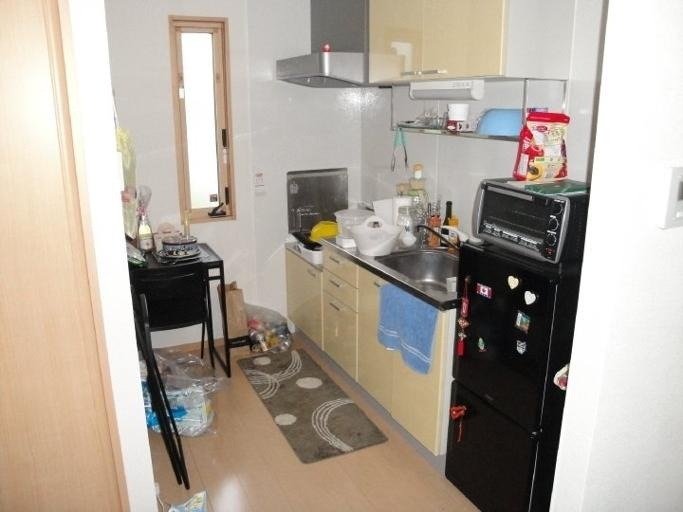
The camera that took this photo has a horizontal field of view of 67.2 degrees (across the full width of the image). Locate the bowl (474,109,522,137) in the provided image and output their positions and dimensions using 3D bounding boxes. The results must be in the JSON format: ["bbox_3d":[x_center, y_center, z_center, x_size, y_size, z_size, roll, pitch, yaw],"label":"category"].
[{"bbox_3d":[0.829,-0.693,2.684,0.232,0.128,0.124,3,19,17],"label":"bowl"}]

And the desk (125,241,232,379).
[{"bbox_3d":[-1.173,0.452,3.530,0.750,0.797,0.637,-9,10,-32],"label":"desk"}]

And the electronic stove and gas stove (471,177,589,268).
[{"bbox_3d":[0.865,-0.170,2.355,0.340,0.286,0.447,-8,22,-42],"label":"electronic stove and gas stove"}]

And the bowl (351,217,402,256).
[{"bbox_3d":[0.233,-0.137,3.427,0.277,0.181,0.266,0,17,0],"label":"bowl"}]

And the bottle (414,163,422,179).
[{"bbox_3d":[0.551,-0.603,3.653,0.063,0.107,0.167,0,19,8],"label":"bottle"}]

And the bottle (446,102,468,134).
[{"bbox_3d":[0.648,-0.760,2.841,0.141,0.174,0.151,12,19,39],"label":"bottle"}]

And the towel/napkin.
[{"bbox_3d":[0.371,0.403,2.921,0.117,0.424,0.402,-7,24,-33],"label":"towel/napkin"}]

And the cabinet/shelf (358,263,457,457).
[{"bbox_3d":[0.388,0.627,3.004,0.272,0.845,0.866,-7,19,-25],"label":"cabinet/shelf"}]

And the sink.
[{"bbox_3d":[0.603,0.096,3.338,0.302,0.148,0.382,-16,24,-30],"label":"sink"}]

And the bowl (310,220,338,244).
[{"bbox_3d":[-0.128,-0.180,3.970,0.219,0.122,0.130,-9,20,-23],"label":"bowl"}]
